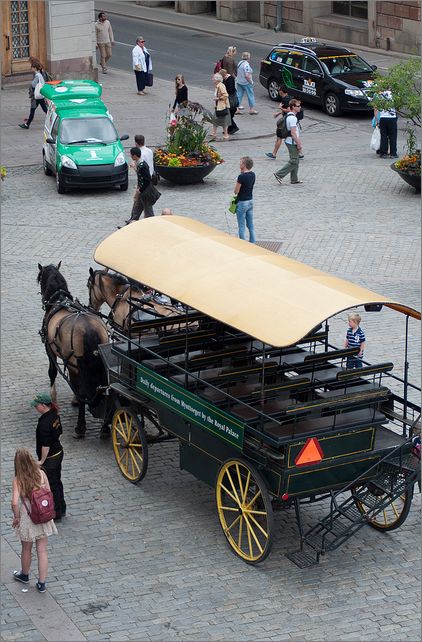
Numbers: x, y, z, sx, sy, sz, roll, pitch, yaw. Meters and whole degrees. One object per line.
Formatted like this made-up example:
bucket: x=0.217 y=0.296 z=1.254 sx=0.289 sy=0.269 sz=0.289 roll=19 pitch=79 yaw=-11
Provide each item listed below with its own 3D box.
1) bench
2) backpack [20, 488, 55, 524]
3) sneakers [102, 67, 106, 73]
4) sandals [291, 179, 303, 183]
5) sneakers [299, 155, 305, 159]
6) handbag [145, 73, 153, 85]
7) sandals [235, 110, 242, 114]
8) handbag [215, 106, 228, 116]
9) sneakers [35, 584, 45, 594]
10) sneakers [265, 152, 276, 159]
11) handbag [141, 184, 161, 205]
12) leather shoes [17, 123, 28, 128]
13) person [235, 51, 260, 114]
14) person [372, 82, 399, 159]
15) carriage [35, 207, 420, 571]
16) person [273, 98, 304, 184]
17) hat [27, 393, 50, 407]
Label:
bench: x=0.176 y=0.582 z=6.901 sx=1.490 sy=0.825 sz=2.445 roll=-13 pitch=29 yaw=-39
backpack: x=-1.347 y=1.461 z=5.168 sx=0.247 sy=0.344 sz=0.157 roll=-1 pitch=12 yaw=-15
sneakers: x=-5.228 y=-12.447 z=32.761 sx=0.125 sy=0.147 sz=0.367 roll=-5 pitch=9 yaw=-13
sandals: x=2.540 y=-4.156 z=19.591 sx=0.308 sy=0.111 sz=0.107 roll=-5 pitch=28 yaw=-13
sneakers: x=2.966 y=-5.391 z=21.581 sx=0.130 sy=0.136 sz=0.337 roll=2 pitch=13 yaw=7
handbag: x=-2.684 y=-10.618 z=28.835 sx=0.241 sy=0.512 sz=0.548 roll=-7 pitch=23 yaw=-19
sandals: x=1.173 y=-8.552 z=26.907 sx=0.138 sy=0.163 sz=0.400 roll=6 pitch=14 yaw=24
handbag: x=0.395 y=-7.250 z=22.817 sx=0.411 sy=0.244 sz=0.317 roll=3 pitch=10 yaw=4
sneakers: x=-1.379 y=2.172 z=5.401 sx=0.047 sy=0.053 sz=0.130 roll=-3 pitch=25 yaw=-21
sneakers: x=1.943 y=-5.372 z=21.377 sx=0.330 sy=0.139 sz=0.122 roll=35 pitch=-3 yaw=39
handbag: x=-1.341 y=-2.845 z=14.764 sx=0.411 sy=0.473 sz=0.279 roll=-1 pitch=12 yaw=-15
leather shoes: x=-6.866 y=-7.229 z=24.359 sx=0.170 sy=0.183 sz=0.450 roll=-2 pitch=16 yaw=-37
person: x=1.423 y=-9.507 z=26.185 sx=0.889 sy=2.312 sz=0.919 roll=16 pitch=34 yaw=24
person: x=5.661 y=-6.104 z=21.321 sx=0.754 sy=1.519 sz=1.146 roll=7 pitch=12 yaw=23
carriage: x=0.124 y=0.821 z=7.366 sx=1.923 sy=2.233 sz=4.411 roll=-13 pitch=25 yaw=-28
person: x=2.390 y=-5.336 z=19.511 sx=0.773 sy=2.523 sz=1.254 roll=4 pitch=11 yaw=7
hat: x=-1.622 y=0.743 z=6.274 sx=0.192 sy=0.091 sz=0.119 roll=1 pitch=9 yaw=14
